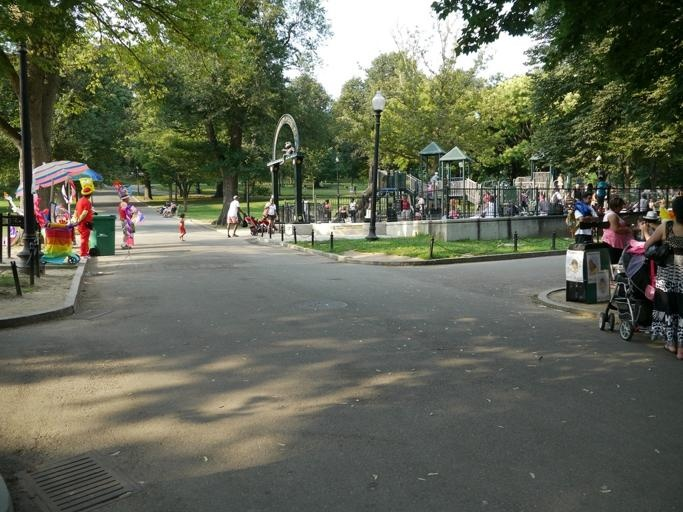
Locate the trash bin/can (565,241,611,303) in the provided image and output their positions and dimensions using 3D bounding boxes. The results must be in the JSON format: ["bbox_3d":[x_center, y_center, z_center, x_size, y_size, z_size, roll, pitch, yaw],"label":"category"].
[{"bbox_3d":[4.985,0.308,12.414,0.787,1.233,0.885,6,8,28],"label":"trash bin/can"}]

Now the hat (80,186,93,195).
[{"bbox_3d":[-8.400,-2.156,20.176,0.353,0.123,0.365,9,17,-16],"label":"hat"}]

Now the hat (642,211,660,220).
[{"bbox_3d":[5.663,-0.733,11.122,0.260,0.123,0.304,2,0,12],"label":"hat"}]

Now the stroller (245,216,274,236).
[{"bbox_3d":[-4.794,-1.706,35.469,2.079,1.246,1.031,-4,8,-27],"label":"stroller"}]

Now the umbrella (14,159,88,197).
[{"bbox_3d":[-10.338,-3.084,22.763,2.687,1.051,2.800,-17,3,13],"label":"umbrella"}]

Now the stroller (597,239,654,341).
[{"bbox_3d":[4.685,0.572,9.931,0.820,1.465,0.866,4,8,11],"label":"stroller"}]
